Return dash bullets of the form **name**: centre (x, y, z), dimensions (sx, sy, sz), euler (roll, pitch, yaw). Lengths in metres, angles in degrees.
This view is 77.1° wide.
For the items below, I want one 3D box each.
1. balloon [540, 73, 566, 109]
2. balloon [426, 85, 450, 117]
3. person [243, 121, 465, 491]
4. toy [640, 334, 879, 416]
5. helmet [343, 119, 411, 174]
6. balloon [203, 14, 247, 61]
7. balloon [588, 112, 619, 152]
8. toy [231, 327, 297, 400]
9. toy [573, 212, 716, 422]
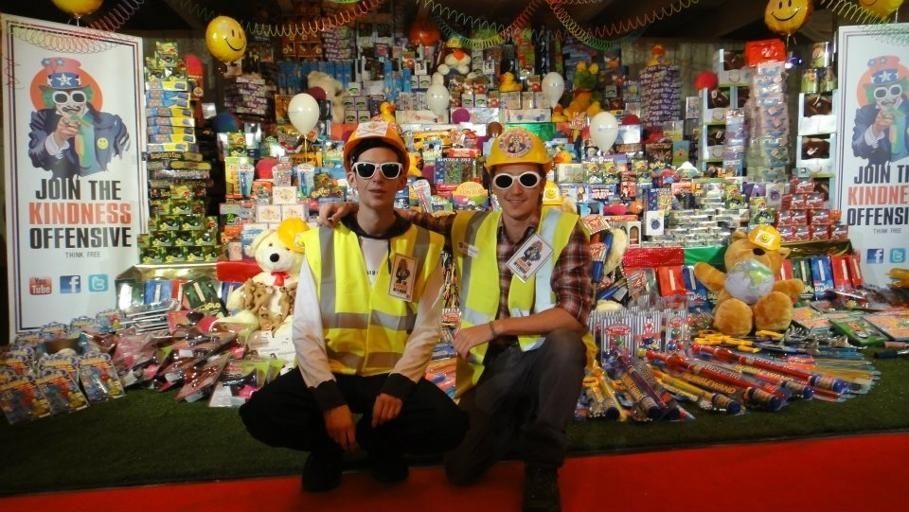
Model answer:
- **balloon**: centre (1.519, -2.585, 8.881), dimensions (0.307, 0.510, 0.365), euler (-2, 4, 3)
- **balloon**: centre (-0.257, -2.300, 8.433), dimensions (0.312, 0.469, 0.406), euler (-2, 4, -4)
- **person**: centre (-0.661, 0.355, 4.045), dimensions (1.399, 2.600, 0.446), euler (-2, 4, -6)
- **toy**: centre (2.708, 1.051, 5.173), dimensions (1.874, 0.406, 0.902), euler (-3, 5, -13)
- **helmet**: centre (-0.593, -0.845, 4.360), dimensions (0.484, 0.307, 0.624), euler (-8, -11, 3)
- **balloon**: centre (-3.057, -2.914, 7.708), dimensions (0.629, 0.711, 0.585), euler (-10, 18, -14)
- **balloon**: centre (2.026, -1.662, 7.736), dimensions (0.360, 0.519, 0.406), euler (-1, 5, 15)
- **toy**: centre (-1.798, 1.000, 5.214), dimensions (0.569, 0.206, 0.560), euler (8, 32, 13)
- **toy**: centre (1.605, 0.571, 5.300), dimensions (0.583, 1.839, 1.359), euler (-3, -5, 41)
